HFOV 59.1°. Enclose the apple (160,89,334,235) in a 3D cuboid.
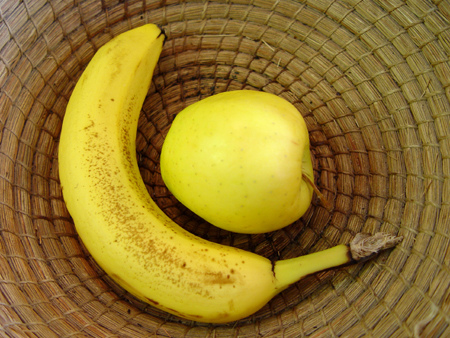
[{"bbox_3d":[0.064,-0.035,1.109,0.359,0.375,0.405,2,100,25],"label":"apple"}]
